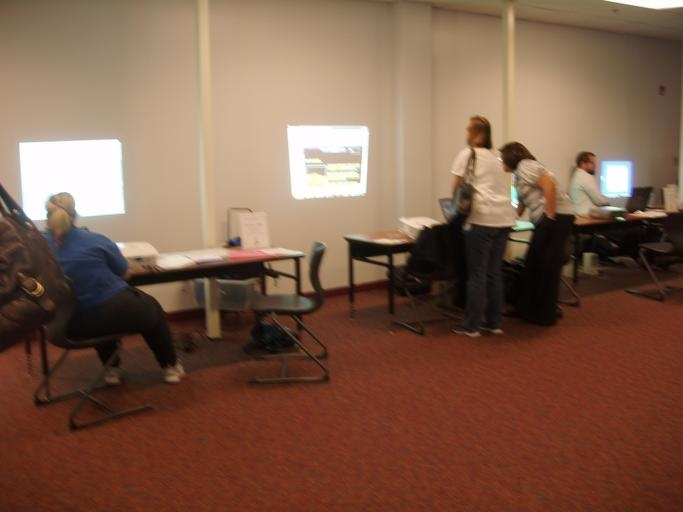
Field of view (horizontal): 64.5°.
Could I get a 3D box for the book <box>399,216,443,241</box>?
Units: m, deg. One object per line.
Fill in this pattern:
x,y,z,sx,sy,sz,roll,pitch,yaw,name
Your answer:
0.814,-0.317,5.631,0.299,0.084,0.295,-14,25,-28,book

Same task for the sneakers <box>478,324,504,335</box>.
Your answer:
1.466,0.741,5.372,0.088,0.092,0.239,-4,11,-40,sneakers

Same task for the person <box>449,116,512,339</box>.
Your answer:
1.345,-0.271,5.225,0.562,2.098,0.557,5,15,28,person

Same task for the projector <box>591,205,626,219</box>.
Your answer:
3.179,-0.509,6.458,0.477,0.123,0.244,-1,13,0,projector

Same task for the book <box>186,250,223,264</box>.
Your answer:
-1.194,0.009,4.733,0.190,0.025,0.171,-7,17,-31,book

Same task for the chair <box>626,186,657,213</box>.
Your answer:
3.765,-0.712,6.904,0.493,0.303,0.165,-11,16,-38,chair

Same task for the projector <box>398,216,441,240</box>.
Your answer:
0.816,-0.319,5.635,0.303,0.088,0.297,-14,25,-29,projector

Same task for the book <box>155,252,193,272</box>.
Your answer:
-1.392,0.059,4.479,0.176,0.043,0.190,-9,19,-42,book

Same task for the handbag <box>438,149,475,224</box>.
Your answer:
1.092,-0.636,5.121,0.322,0.731,0.300,1,13,10,handbag

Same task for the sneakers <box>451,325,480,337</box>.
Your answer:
1.205,0.743,5.320,0.251,0.110,0.094,12,13,32,sneakers

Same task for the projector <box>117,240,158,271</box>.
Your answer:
-1.660,0.005,4.503,0.368,0.081,0.264,13,15,36,projector
